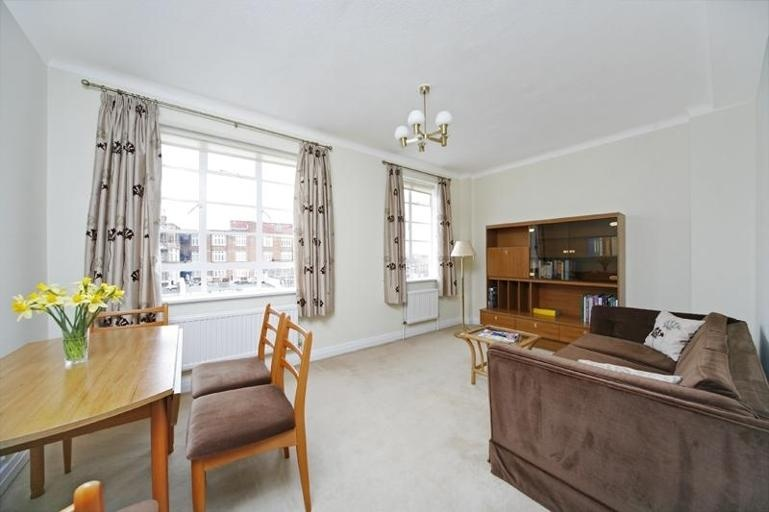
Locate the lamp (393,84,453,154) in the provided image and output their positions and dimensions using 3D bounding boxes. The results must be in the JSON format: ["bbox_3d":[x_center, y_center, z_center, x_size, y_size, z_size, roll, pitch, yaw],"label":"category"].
[{"bbox_3d":[0.382,-1.356,4.689,0.575,0.532,0.592,-5,-4,29],"label":"lamp"}]

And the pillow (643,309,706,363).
[{"bbox_3d":[2.538,0.698,4.323,0.125,0.400,0.417,33,5,-5],"label":"pillow"}]

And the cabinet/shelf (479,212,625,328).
[{"bbox_3d":[1.969,0.343,6.143,1.586,1.582,0.455,3,6,40],"label":"cabinet/shelf"}]

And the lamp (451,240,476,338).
[{"bbox_3d":[1.124,0.420,7.057,0.328,1.261,0.735,-1,1,10],"label":"lamp"}]

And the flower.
[{"bbox_3d":[-2.229,0.495,3.591,0.674,0.643,0.710,-7,2,-26],"label":"flower"}]

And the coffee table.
[{"bbox_3d":[1.061,1.055,5.006,0.465,0.445,0.635,-5,-7,-14],"label":"coffee table"}]

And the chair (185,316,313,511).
[{"bbox_3d":[-1.065,1.173,4.029,0.888,1.367,1.393,-1,1,-12],"label":"chair"}]
